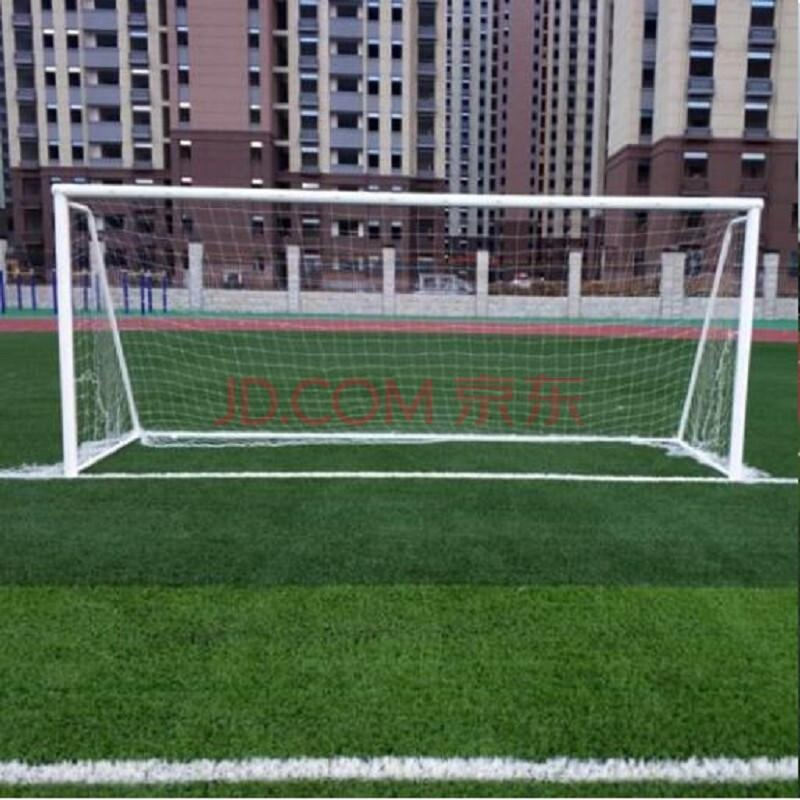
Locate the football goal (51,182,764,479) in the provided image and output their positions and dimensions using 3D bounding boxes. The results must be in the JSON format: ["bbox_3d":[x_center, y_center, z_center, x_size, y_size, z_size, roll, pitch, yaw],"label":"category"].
[{"bbox_3d":[0.151,-1.048,15.950,7.582,2.959,6.485,1,13,-3],"label":"football goal"}]
